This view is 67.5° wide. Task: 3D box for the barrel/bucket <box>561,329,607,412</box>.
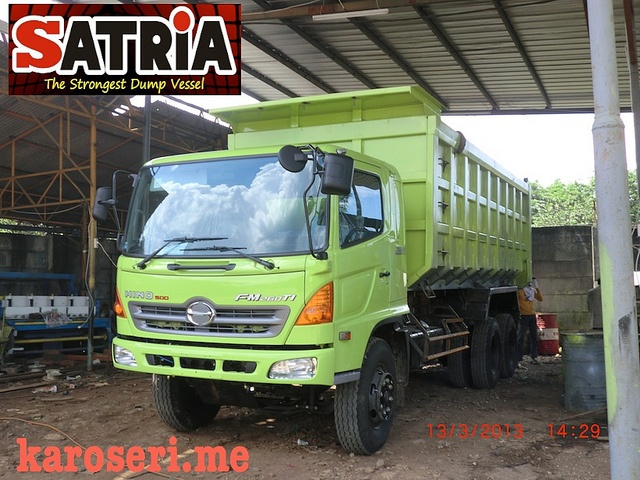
[{"bbox_3d":[4.088,2.051,7.474,0.567,1.253,0.288,-2,-6,25],"label":"barrel/bucket"}]
